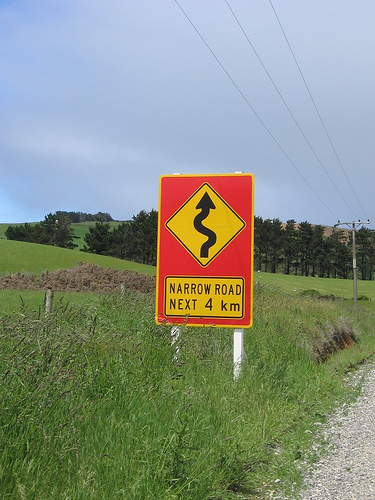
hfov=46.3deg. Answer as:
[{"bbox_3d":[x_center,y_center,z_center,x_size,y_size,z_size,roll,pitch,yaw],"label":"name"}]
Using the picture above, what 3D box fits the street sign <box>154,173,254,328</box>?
[{"bbox_3d":[0.251,0.002,6.437,1.403,2.286,0.203,1,-1,3],"label":"street sign"}]
